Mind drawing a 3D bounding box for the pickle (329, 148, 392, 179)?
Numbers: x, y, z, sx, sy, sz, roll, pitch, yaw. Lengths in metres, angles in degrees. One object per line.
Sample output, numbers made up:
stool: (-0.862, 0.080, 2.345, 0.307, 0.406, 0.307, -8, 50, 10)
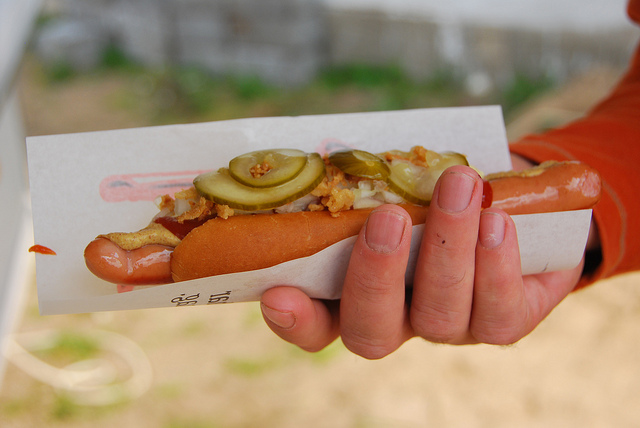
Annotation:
pickle: (0.179, -0.219, 2.681, 0.173, 0.041, 0.159, 19, 19, -14)
